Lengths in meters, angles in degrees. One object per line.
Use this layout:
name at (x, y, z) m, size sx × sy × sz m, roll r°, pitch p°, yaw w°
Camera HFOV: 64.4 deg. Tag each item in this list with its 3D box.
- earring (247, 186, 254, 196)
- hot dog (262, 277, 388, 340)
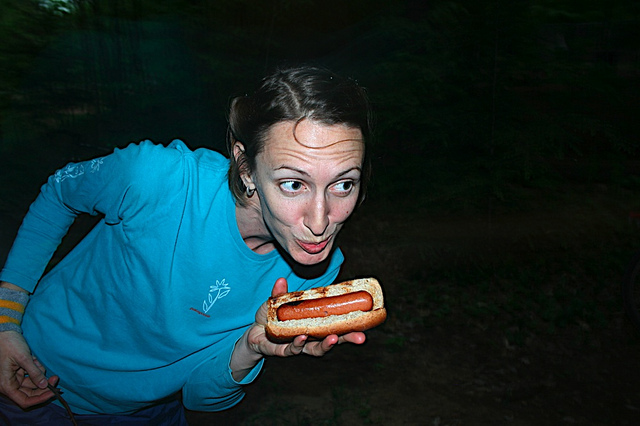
earring at (-0.348, -0.108, 2.504) m, size 0.034 × 0.041 × 0.015 m, roll 10°, pitch 29°, yaw 22°
hot dog at (0.029, 0.520, 2.646) m, size 0.618 × 0.176 × 0.258 m, roll -7°, pitch 37°, yaw -4°
